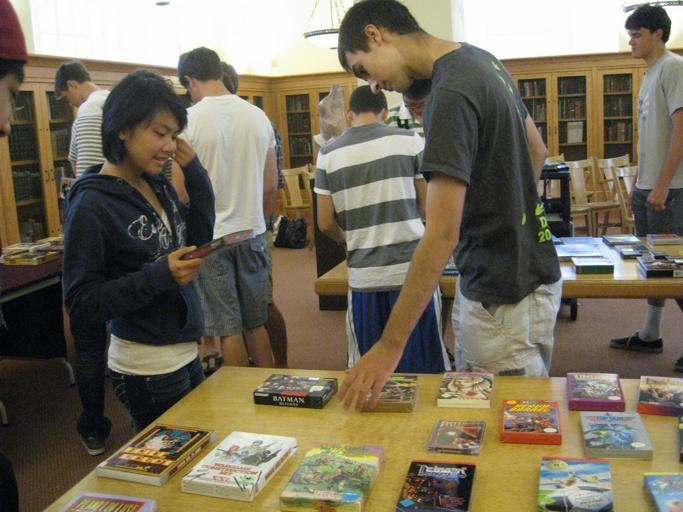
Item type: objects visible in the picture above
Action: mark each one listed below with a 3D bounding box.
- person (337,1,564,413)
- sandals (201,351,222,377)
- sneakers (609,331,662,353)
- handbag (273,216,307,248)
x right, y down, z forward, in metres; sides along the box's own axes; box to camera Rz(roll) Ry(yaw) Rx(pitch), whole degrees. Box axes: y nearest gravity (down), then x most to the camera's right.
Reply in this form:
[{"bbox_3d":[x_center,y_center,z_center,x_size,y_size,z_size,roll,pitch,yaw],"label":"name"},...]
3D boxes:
[{"bbox_3d":[0.314,-0.171,1.752,0.867,1.342,0.434,-11,14,-26],"label":"person"},{"bbox_3d":[-0.576,0.473,2.399,0.086,0.056,0.221,-2,3,-2],"label":"sandals"},{"bbox_3d":[2.229,0.664,4.082,0.358,0.130,0.144,5,4,34],"label":"sneakers"},{"bbox_3d":[-0.802,-0.358,8.236,0.554,0.523,0.294,0,-4,11],"label":"handbag"}]
